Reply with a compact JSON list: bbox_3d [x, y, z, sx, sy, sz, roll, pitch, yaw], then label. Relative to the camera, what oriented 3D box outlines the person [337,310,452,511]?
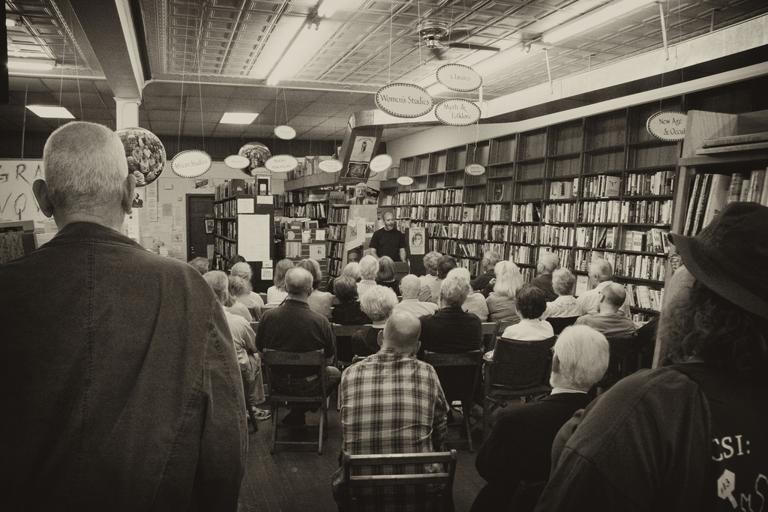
[{"bbox_3d":[0.039,0.796,3.070,0.574,0.971,0.651,3,3,1],"label":"person"}]

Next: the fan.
[{"bbox_3d":[0.632,-2.440,6.811,0.598,0.169,0.749,4,4,-37],"label":"fan"}]
